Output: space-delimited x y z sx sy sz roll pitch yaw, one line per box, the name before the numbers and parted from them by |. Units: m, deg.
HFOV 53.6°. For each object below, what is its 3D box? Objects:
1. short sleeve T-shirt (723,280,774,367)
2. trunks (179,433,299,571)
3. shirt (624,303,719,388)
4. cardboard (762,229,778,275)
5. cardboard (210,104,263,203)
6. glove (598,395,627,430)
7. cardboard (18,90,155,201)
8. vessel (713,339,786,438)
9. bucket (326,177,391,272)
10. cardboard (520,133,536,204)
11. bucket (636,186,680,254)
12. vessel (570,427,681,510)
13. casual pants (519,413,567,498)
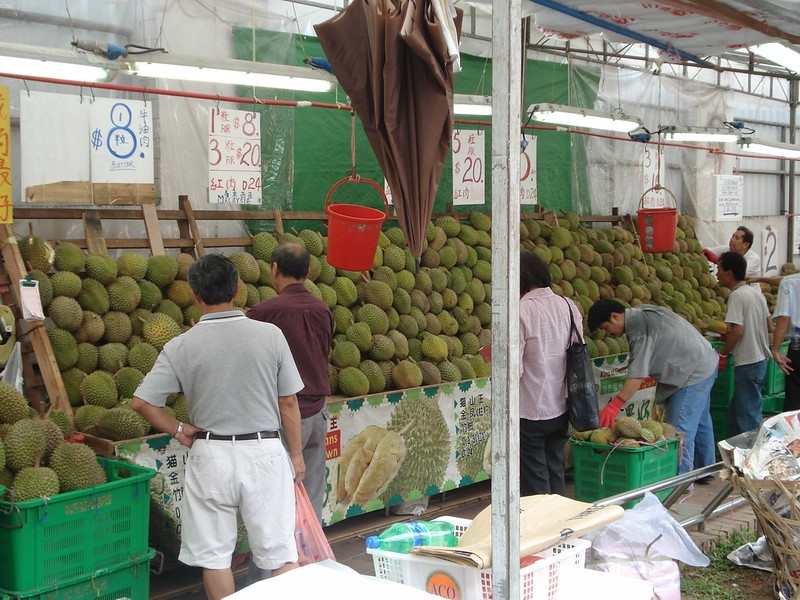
short sleeve T-shirt | 3.246 0.225 7.316 0.503 0.767 0.273 -1 -2 -26
trunks | -0.799 1.006 3.974 0.619 0.819 0.284 2 6 -4
shirt | 2.084 0.449 6.074 0.461 0.763 0.543 -18 -28 38
cardboard | 6.235 -0.829 13.340 0.095 1.083 0.705 0 2 33
cardboard | -1.254 -1.111 6.054 0.467 0.716 0.107 -9 7 -44
glove | 1.560 0.819 5.803 0.177 0.256 0.214 -2 6 16
cardboard | -2.301 -1.125 5.730 0.751 0.740 0.040 0 0 -17
vessel | 3.121 0.781 7.136 0.747 0.871 0.605 -1 8 -2
bucket | -0.287 -0.528 5.160 0.396 0.609 0.376 7 14 -2
cardboard | 1.317 -1.362 8.067 0.160 0.698 0.749 -2 6 9
bucket | 2.640 -0.859 8.094 0.370 0.710 0.391 -3 7 0
vessel | 1.739 1.203 6.015 0.535 0.563 0.822 7 15 40
casual pants | 1.039 1.018 5.466 0.267 0.717 0.219 -7 28 -2
